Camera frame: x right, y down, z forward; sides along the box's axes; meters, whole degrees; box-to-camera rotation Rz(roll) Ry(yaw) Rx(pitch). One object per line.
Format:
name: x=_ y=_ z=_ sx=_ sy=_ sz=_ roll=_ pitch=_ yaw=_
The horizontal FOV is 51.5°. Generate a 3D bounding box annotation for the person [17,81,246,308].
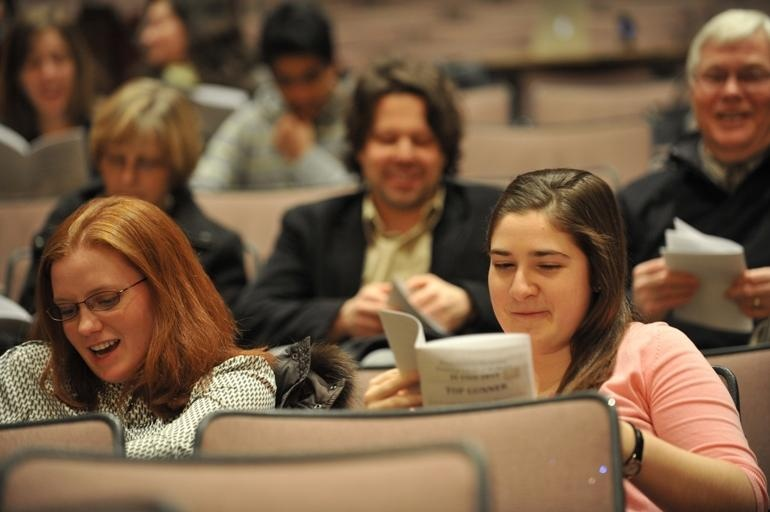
person: x=-0.932 y=-0.192 z=3.007 sx=0.926 sy=0.771 sz=0.477 roll=10 pitch=24 yaw=12

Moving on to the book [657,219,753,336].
book: x=0.932 y=0.066 z=2.317 sx=0.320 sy=0.316 sz=0.117 roll=6 pitch=39 yaw=35

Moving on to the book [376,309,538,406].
book: x=0.140 y=0.222 z=1.728 sx=0.335 sy=0.225 sz=0.183 roll=-9 pitch=6 yaw=-1

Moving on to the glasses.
glasses: x=-0.731 y=0.112 z=1.969 sx=0.158 sy=0.044 sz=0.152 roll=-18 pitch=9 yaw=20
